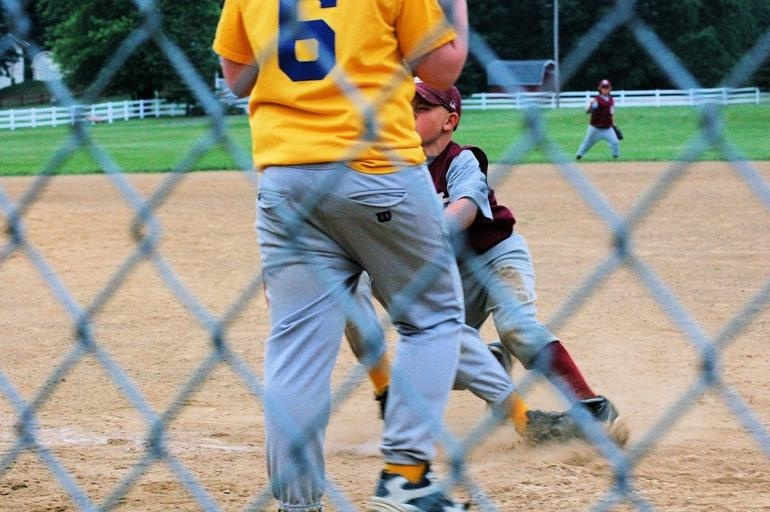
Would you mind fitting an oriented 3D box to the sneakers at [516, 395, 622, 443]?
[{"bbox_3d":[0.831,0.749,5.561,0.603,0.197,0.179,2,6,-1],"label":"sneakers"}]

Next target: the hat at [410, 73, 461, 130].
[{"bbox_3d":[0.239,-0.693,5.479,0.267,0.129,0.179,18,5,-40],"label":"hat"}]
